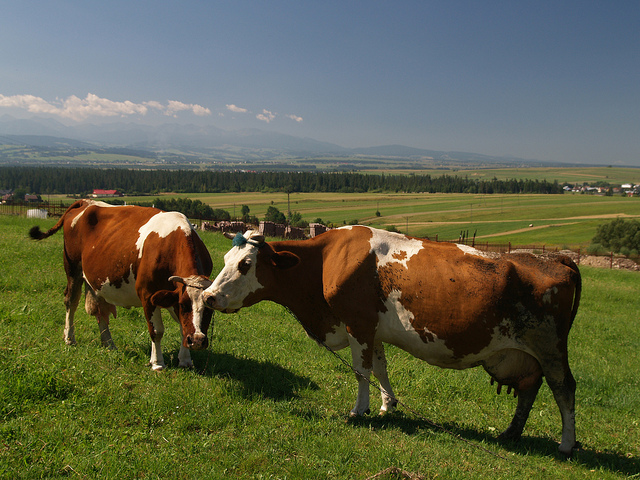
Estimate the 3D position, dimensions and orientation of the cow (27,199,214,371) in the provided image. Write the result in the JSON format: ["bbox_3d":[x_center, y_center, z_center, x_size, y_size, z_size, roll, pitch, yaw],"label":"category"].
[{"bbox_3d":[-4.634,1.093,13.018,6.474,3.934,1.770,7,6,31],"label":"cow"}]
